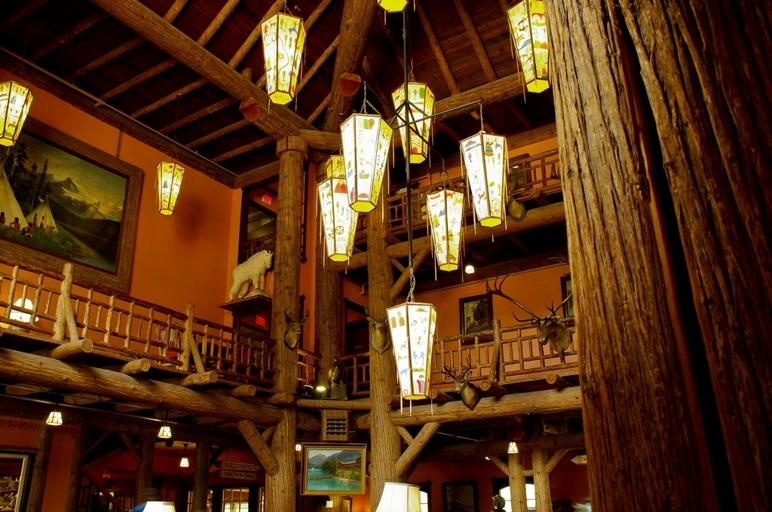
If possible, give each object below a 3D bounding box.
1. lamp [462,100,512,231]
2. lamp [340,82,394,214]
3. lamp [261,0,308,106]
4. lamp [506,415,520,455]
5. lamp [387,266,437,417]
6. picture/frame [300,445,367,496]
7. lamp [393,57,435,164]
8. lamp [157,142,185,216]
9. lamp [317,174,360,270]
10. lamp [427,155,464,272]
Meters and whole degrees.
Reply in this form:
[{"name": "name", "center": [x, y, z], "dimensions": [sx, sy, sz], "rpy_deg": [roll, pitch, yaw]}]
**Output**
[{"name": "lamp", "center": [0.938, -0.879, 5.387], "dimensions": [0.483, 1.256, 0.356], "rpy_deg": [21, -33, -40]}, {"name": "lamp", "center": [-0.177, -0.896, 4.327], "dimensions": [0.356, 1.047, 0.369], "rpy_deg": [-6, -18, 21]}, {"name": "lamp", "center": [-0.967, -1.866, 5.256], "dimensions": [0.406, 1.204, 0.279], "rpy_deg": [5, -25, -14]}, {"name": "lamp", "center": [2.076, 2.927, 9.174], "dimensions": [0.264, 0.451, 1.074], "rpy_deg": [-6, -26, 9]}, {"name": "lamp", "center": [0.231, 0.683, 4.548], "dimensions": [0.395, 0.874, 0.222], "rpy_deg": [3, -25, -10]}, {"name": "picture/frame", "center": [-0.794, 3.210, 8.466], "dimensions": [0.798, 0.622, 0.063], "rpy_deg": [3, -29, -7]}, {"name": "lamp", "center": [0.294, -1.297, 5.700], "dimensions": [0.400, 0.792, 0.427], "rpy_deg": [-5, -20, 12]}, {"name": "lamp", "center": [-3.371, -1.214, 8.810], "dimensions": [0.420, 1.194, 0.398], "rpy_deg": [3, -16, -6]}, {"name": "lamp", "center": [-0.480, -0.335, 5.884], "dimensions": [0.497, 0.748, 0.436], "rpy_deg": [-12, -19, 30]}, {"name": "lamp", "center": [0.633, -0.331, 5.841], "dimensions": [0.371, 1.153, 0.442], "rpy_deg": [-5, -25, 7]}]
